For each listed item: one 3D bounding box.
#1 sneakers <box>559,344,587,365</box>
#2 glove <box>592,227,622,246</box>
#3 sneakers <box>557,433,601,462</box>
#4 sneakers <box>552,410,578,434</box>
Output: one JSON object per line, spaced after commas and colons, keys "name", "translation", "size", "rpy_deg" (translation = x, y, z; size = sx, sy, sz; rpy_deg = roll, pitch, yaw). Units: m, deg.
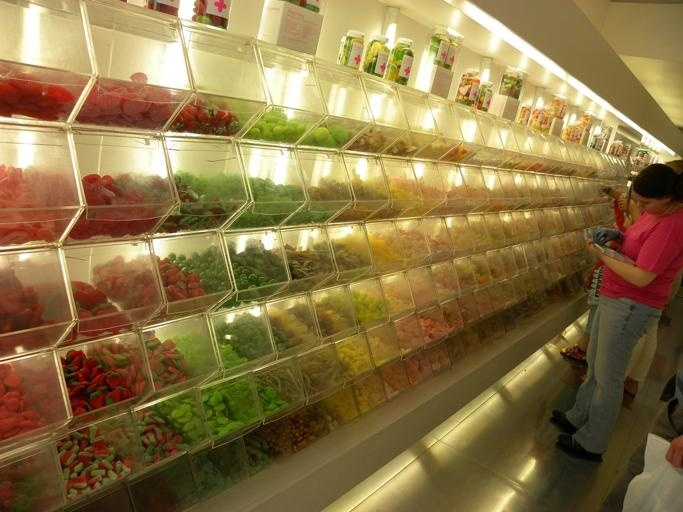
{"name": "sneakers", "translation": [2.335, 0.986, 4.025], "size": [0.289, 0.101, 0.105], "rpy_deg": [3, -13, 28]}
{"name": "glove", "translation": [1.835, -0.133, 2.854], "size": [0.269, 0.152, 0.115], "rpy_deg": [1, -6, -32]}
{"name": "sneakers", "translation": [1.626, 1.349, 2.828], "size": [0.331, 0.099, 0.129], "rpy_deg": [13, 44, 10]}
{"name": "sneakers", "translation": [1.685, 1.274, 3.072], "size": [0.082, 0.070, 0.193], "rpy_deg": [37, 8, -42]}
